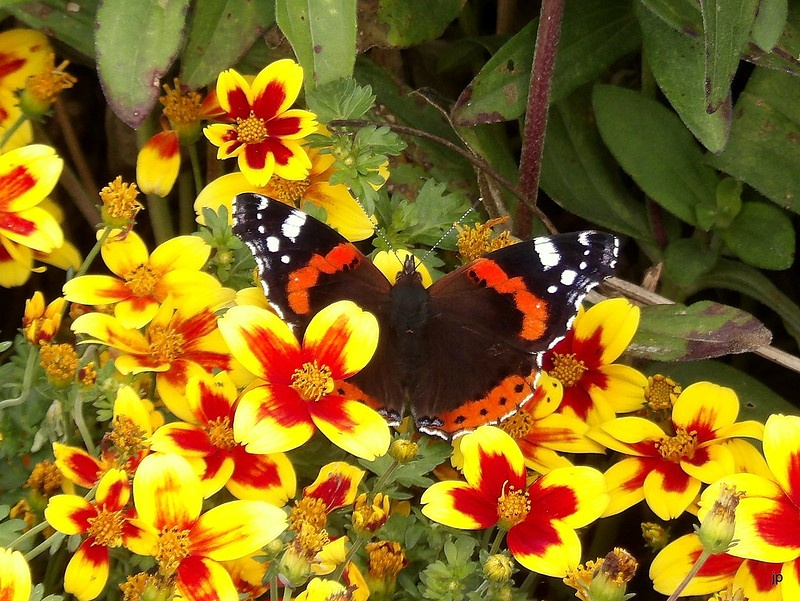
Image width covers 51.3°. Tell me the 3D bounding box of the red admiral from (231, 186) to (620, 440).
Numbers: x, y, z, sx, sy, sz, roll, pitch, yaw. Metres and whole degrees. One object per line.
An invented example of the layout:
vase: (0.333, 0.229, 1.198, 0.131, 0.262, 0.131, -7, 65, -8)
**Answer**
red admiral: (0.028, 0.032, 1.312, 0.606, 0.126, 0.358, 2, 83, 3)
